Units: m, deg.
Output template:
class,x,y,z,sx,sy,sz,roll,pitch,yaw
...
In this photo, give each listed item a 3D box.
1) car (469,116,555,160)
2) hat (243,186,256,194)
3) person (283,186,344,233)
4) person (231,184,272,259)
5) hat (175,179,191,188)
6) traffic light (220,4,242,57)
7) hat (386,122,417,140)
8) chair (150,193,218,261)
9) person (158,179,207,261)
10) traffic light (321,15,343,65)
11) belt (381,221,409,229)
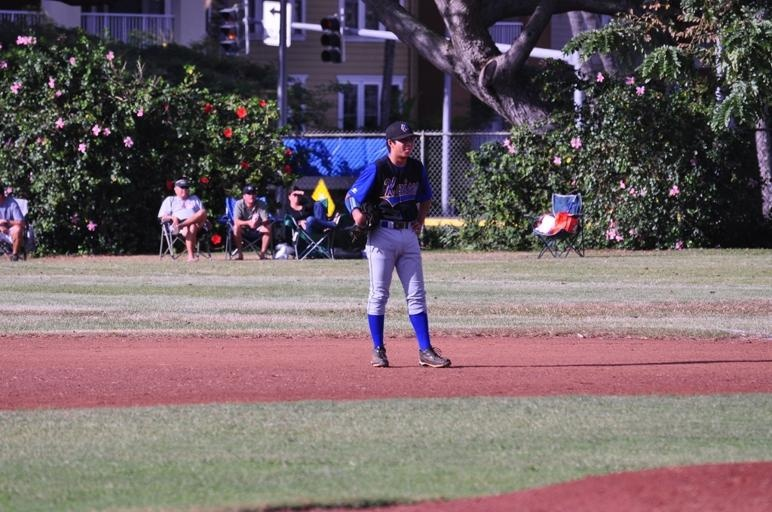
class,x,y,z,sx,sy,sz,roll,pitch,yaw
car,3.001,-2.785,38.005,1.877,0.799,1.922,-3,-3,-7
hat,-2.939,-1.429,34.526,0.224,0.193,0.361,-1,4,-11
person,-1.635,-1.029,35.314,1.068,0.925,1.416,-1,4,-3
person,-2.907,-0.733,34.559,0.813,1.586,1.101,0,4,-1
hat,-4.297,-1.539,34.012,0.219,0.211,0.368,3,5,34
traffic light,-3.826,-5.641,39.445,0.527,1.192,1.237,-1,4,-5
hat,0.201,-1.848,23.595,0.391,0.267,0.525,0,4,2
chair,-4.433,-0.655,34.864,0.973,1.855,1.078,8,-29,-26
person,-4.285,-0.789,34.117,0.874,1.699,1.325,-3,5,-26
traffic light,-1.266,-5.152,37.769,0.480,1.075,0.657,0,5,-1
belt,0.140,-0.458,23.485,0.407,0.117,0.043,-1,5,-14
